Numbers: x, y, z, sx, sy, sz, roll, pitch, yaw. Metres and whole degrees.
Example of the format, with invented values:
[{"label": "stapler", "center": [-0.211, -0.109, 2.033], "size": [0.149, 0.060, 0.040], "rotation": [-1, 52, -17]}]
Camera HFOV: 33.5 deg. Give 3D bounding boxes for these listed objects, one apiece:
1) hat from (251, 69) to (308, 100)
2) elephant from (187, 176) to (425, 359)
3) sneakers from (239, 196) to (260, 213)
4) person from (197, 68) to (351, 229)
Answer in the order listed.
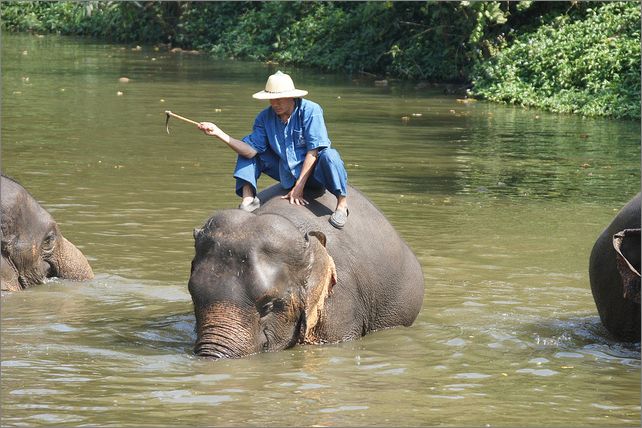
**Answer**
[{"label": "hat", "center": [-0.375, -1.133, 9.225], "size": [0.545, 0.186, 0.456], "rotation": [6, 21, 21]}, {"label": "elephant", "center": [-0.132, 0.462, 8.754], "size": [1.927, 1.212, 0.592], "rotation": [-5, 11, -36]}, {"label": "sneakers", "center": [-0.609, -0.078, 8.989], "size": [0.078, 0.071, 0.202], "rotation": [-4, 21, 44]}, {"label": "person", "center": [-0.363, -0.580, 9.194], "size": [1.513, 1.088, 1.119], "rotation": [4, 12, 31]}]
